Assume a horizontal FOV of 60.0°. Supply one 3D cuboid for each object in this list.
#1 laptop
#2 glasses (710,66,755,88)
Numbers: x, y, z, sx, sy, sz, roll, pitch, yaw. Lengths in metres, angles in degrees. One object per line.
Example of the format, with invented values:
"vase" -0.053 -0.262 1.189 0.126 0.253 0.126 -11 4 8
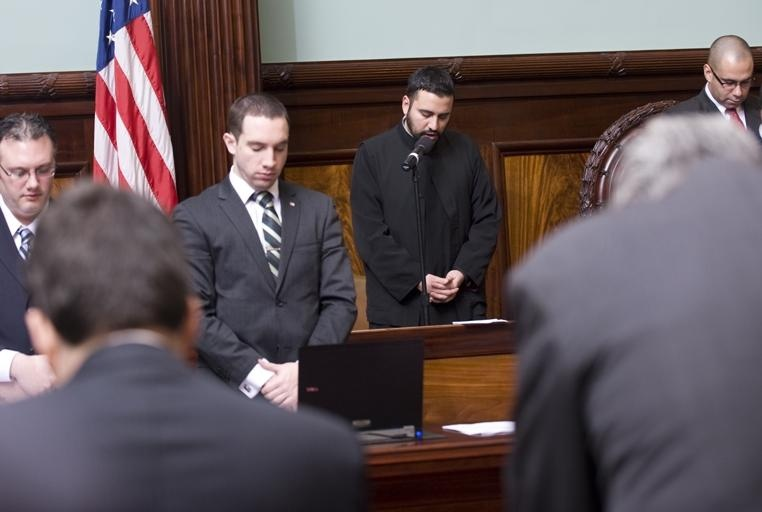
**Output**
"laptop" -0.058 0.469 2.395 0.472 0.359 0.348 -1 5 -11
"glasses" 2.201 -1.120 4.133 0.237 0.119 0.104 2 10 19
